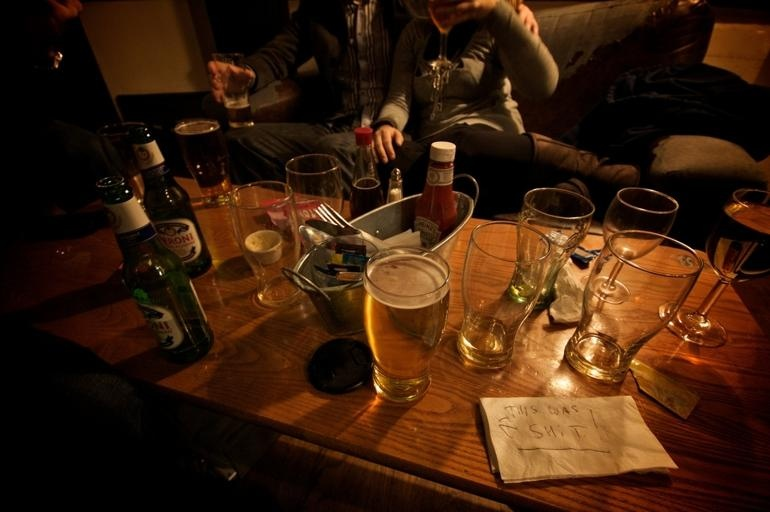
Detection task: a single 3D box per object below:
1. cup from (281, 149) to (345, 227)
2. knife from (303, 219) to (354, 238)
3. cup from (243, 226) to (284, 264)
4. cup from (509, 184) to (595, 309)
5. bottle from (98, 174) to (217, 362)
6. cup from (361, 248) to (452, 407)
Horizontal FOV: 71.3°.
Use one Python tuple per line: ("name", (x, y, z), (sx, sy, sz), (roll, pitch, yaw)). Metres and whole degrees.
("cup", (-0.209, -0.260, 2.000), (0.258, 0.251, 0.247), (-1, 31, 1))
("knife", (-0.188, -0.088, 1.781), (0.211, 0.028, 0.030), (12, 3, 6))
("cup", (-0.410, -0.027, 1.803), (0.116, 0.074, 0.114), (-1, 50, 1))
("cup", (0.539, -0.014, 1.718), (0.265, 0.378, 0.237), (23, 39, 29))
("bottle", (-0.676, 0.049, 1.588), (0.173, 0.547, 0.251), (-23, 39, -26))
("cup", (0.066, 0.207, 1.574), (0.238, 0.408, 0.229), (-2, 34, 1))
